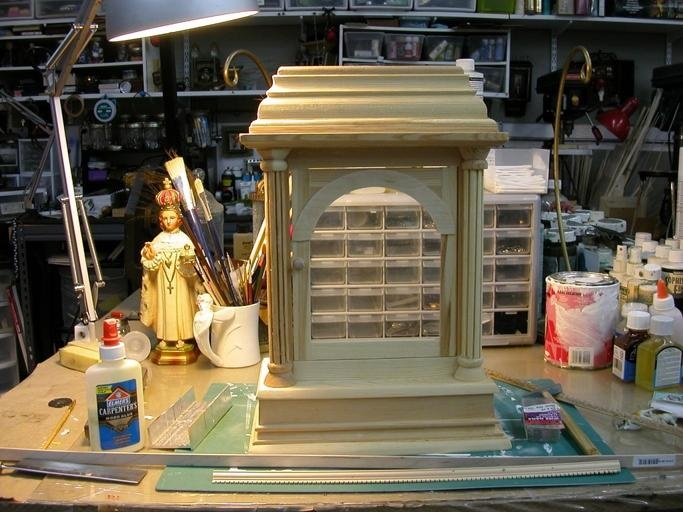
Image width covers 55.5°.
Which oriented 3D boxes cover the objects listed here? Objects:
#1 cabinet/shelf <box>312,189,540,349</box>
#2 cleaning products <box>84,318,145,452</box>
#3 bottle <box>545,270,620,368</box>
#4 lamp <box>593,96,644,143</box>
[{"bbox_3d":[0.191,0.018,1.618,0.485,0.300,0.153,-1,7,2],"label":"cabinet/shelf"},{"bbox_3d":[-0.512,0.291,1.474,0.125,0.303,0.105,-4,8,-22],"label":"cleaning products"},{"bbox_3d":[0.639,0.163,1.810,0.249,0.258,0.241,0,9,3],"label":"bottle"},{"bbox_3d":[1.710,-0.864,4.220,0.233,0.203,0.196,-15,23,19],"label":"lamp"}]
